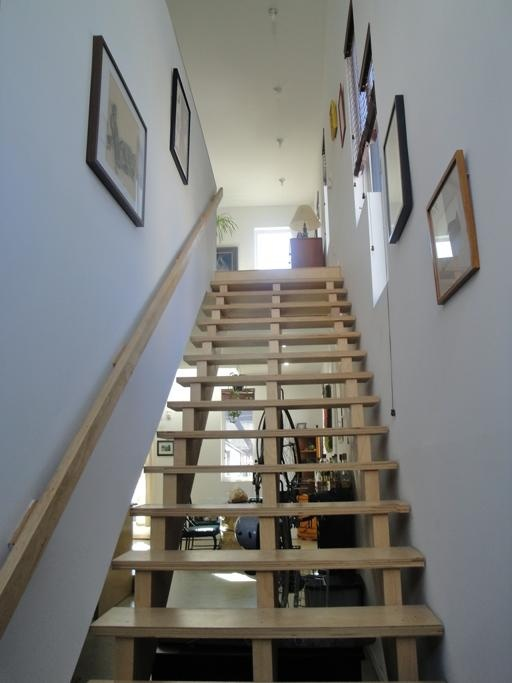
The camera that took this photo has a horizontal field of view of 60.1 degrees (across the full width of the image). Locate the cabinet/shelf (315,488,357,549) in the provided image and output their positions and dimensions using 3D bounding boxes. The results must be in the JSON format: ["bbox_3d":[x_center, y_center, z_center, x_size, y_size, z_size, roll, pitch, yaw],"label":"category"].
[{"bbox_3d":[0.735,1.602,4.026,0.339,0.537,0.278,-3,-19,14],"label":"cabinet/shelf"}]

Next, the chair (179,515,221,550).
[{"bbox_3d":[-0.924,3.298,7.648,0.574,0.560,2.241,5,-26,-4],"label":"chair"}]
